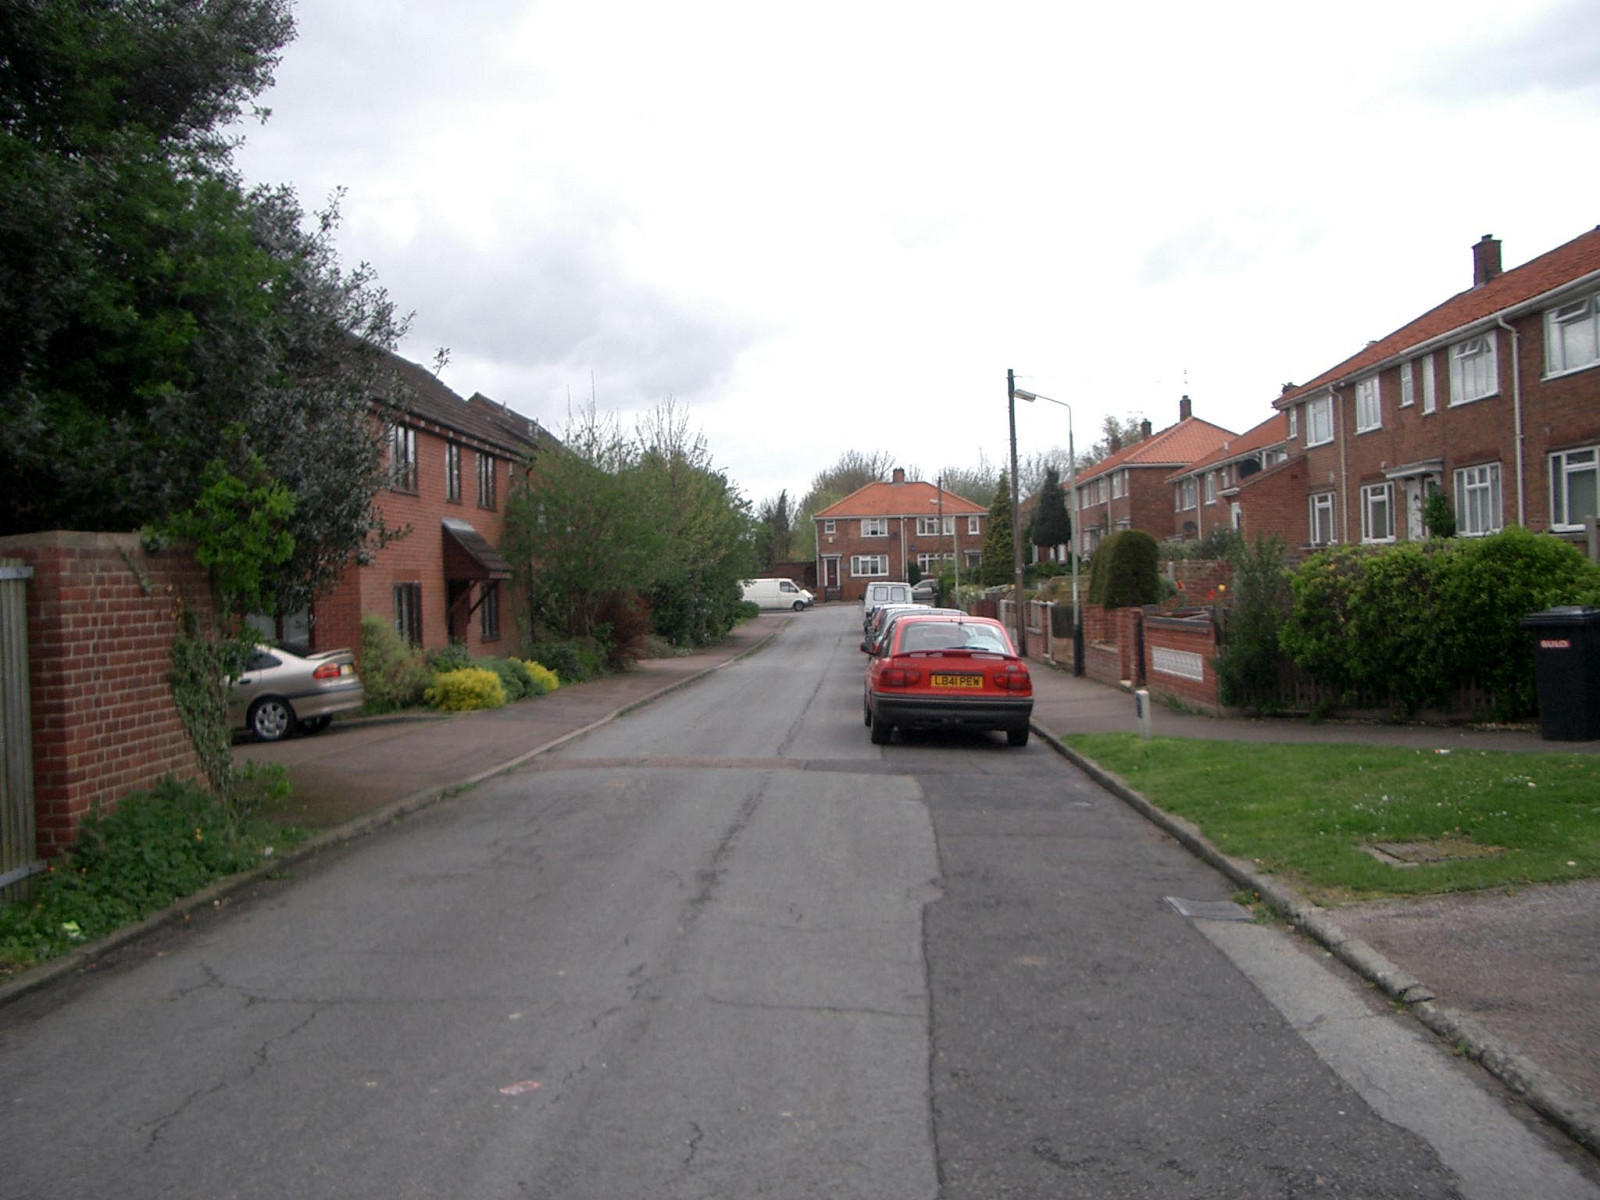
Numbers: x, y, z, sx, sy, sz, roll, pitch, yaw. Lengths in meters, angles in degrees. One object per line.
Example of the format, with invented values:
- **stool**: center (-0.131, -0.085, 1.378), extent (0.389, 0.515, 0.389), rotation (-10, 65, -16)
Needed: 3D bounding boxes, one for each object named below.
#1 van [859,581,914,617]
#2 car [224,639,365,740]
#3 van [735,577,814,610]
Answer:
- **van**: center (3.301, 0.113, 45.293), extent (1.114, 1.380, 2.137), rotation (0, 3, 4)
- **car**: center (-7.558, 1.402, 18.079), extent (2.854, 1.306, 1.426), rotation (1, 0, 4)
- **van**: center (-1.366, -0.279, 74.644), extent (2.919, 1.559, 1.990), rotation (-2, 0, 4)
